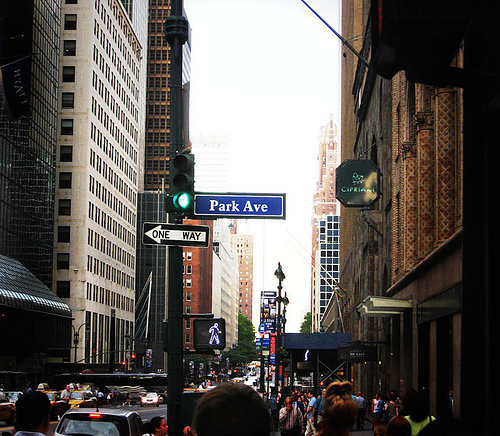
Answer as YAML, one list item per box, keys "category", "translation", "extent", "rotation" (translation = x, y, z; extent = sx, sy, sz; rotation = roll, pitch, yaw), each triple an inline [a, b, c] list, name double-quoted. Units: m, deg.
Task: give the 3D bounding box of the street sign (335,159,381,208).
- category: "street sign"
  translation: [3.635, -1.198, 39.386]
  extent: [1.476, 1.912, 1.016]
  rotation: [-1, -15, 2]

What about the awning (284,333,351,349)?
- category: "awning"
  translation: [3.423, 6.561, 61.518]
  extent: [3.357, 0.910, 1.051]
  rotation: [0, -16, -4]

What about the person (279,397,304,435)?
- category: "person"
  translation: [1.108, 5.385, 31.339]
  extent: [0.655, 1.104, 0.846]
  rotation: [-1, -15, 1]

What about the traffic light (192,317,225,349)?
- category: "traffic light"
  translation: [-0.863, 2.393, 24.069]
  extent: [0.719, 0.761, 0.688]
  rotation: [-2, -15, 5]
